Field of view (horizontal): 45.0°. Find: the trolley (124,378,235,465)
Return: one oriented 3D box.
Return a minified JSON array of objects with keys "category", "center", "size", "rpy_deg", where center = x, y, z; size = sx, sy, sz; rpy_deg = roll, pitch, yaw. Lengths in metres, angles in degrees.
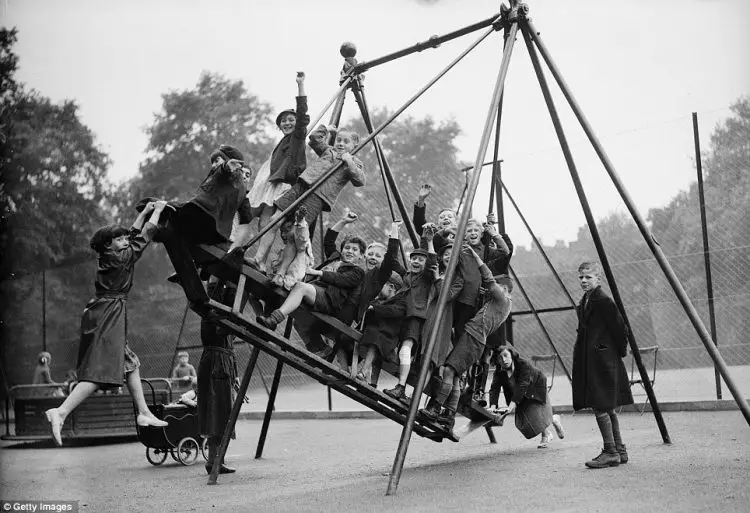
[{"category":"trolley","center":[-3.472,2.650,14.768],"size":[0.932,1.402,1.588],"rpy_deg":[12,-1,6]}]

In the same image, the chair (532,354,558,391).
[{"category":"chair","center":[3.470,2.412,18.860],"size":[0.526,0.815,0.581],"rpy_deg":[5,-16,9]}]

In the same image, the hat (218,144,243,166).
[{"category":"hat","center":[-1.937,-1.361,12.188],"size":[0.301,0.230,0.242],"rpy_deg":[36,-7,7]}]

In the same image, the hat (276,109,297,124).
[{"category":"hat","center":[-1.334,-2.131,13.694],"size":[0.231,0.067,0.256],"rpy_deg":[-15,-18,-33]}]

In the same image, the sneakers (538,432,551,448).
[{"category":"sneakers","center":[2.673,2.918,14.347],"size":[0.131,0.157,0.370],"rpy_deg":[-3,9,23]}]

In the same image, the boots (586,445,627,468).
[{"category":"boots","center":[3.246,2.803,12.607],"size":[0.698,0.299,0.247],"rpy_deg":[1,-9,-16]}]

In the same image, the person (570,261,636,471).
[{"category":"person","center":[3.221,1.526,13.029],"size":[0.897,2.950,0.474],"rpy_deg":[-9,-15,12]}]

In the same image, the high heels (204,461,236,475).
[{"category":"high heels","center":[-2.289,3.183,13.607],"size":[0.550,0.223,0.199],"rpy_deg":[-1,-12,-2]}]

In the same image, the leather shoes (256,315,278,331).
[{"category":"leather shoes","center":[-1.450,0.899,12.238],"size":[0.291,0.222,0.196],"rpy_deg":[-4,-15,-7]}]
